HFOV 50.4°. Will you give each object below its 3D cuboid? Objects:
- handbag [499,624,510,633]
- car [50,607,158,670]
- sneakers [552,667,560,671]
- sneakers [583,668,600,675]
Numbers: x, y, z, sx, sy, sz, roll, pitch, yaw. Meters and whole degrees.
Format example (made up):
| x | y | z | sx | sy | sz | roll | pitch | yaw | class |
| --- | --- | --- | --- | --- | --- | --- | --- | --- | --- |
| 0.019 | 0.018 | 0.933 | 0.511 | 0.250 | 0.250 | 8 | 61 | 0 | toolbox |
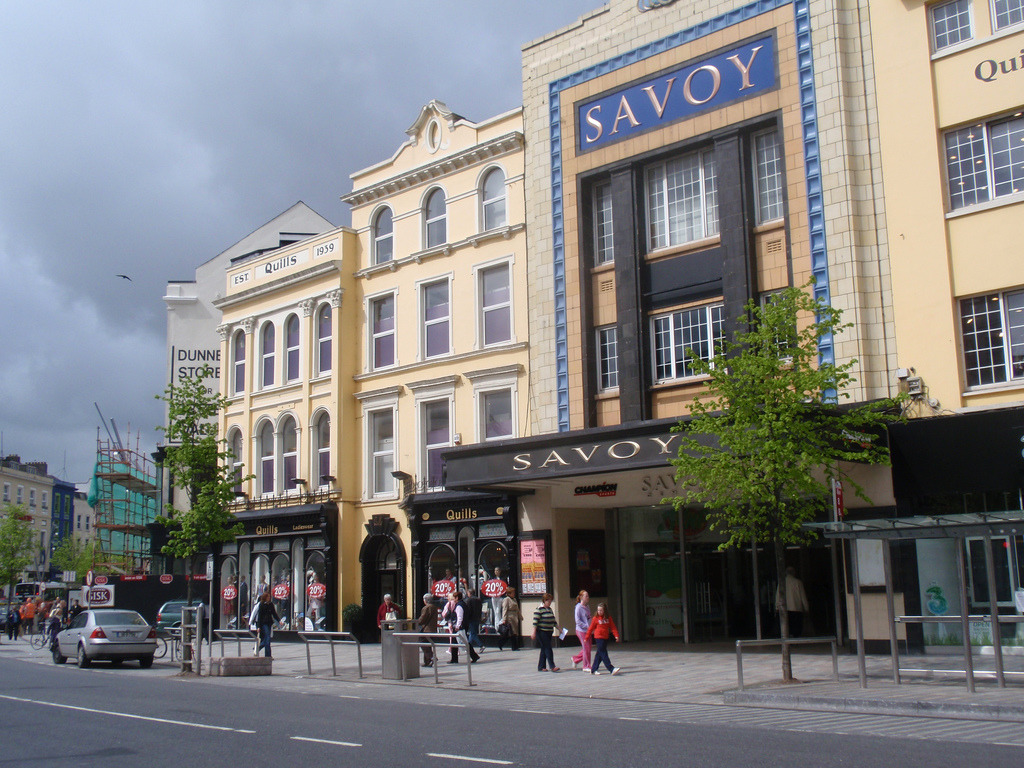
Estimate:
| x | y | z | sx | sy | sz | roll | pitch | yaw | class |
| --- | --- | --- | --- | --- | --- | --- | --- | --- | --- |
| -0.268 | 7.188 | 32.213 | 0.300 | 0.151 | 0.354 | 5 | -13 | -8 | handbag |
| -11.242 | 7.008 | 30.206 | 2.401 | 1.547 | 1.771 | -18 | -23 | 41 | car |
| 1.009 | 6.694 | 25.644 | 0.168 | 0.111 | 0.471 | -3 | -17 | 3 | sneakers |
| 1.785 | 6.612 | 25.108 | 0.160 | 0.209 | 0.510 | 10 | -20 | -34 | sneakers |
